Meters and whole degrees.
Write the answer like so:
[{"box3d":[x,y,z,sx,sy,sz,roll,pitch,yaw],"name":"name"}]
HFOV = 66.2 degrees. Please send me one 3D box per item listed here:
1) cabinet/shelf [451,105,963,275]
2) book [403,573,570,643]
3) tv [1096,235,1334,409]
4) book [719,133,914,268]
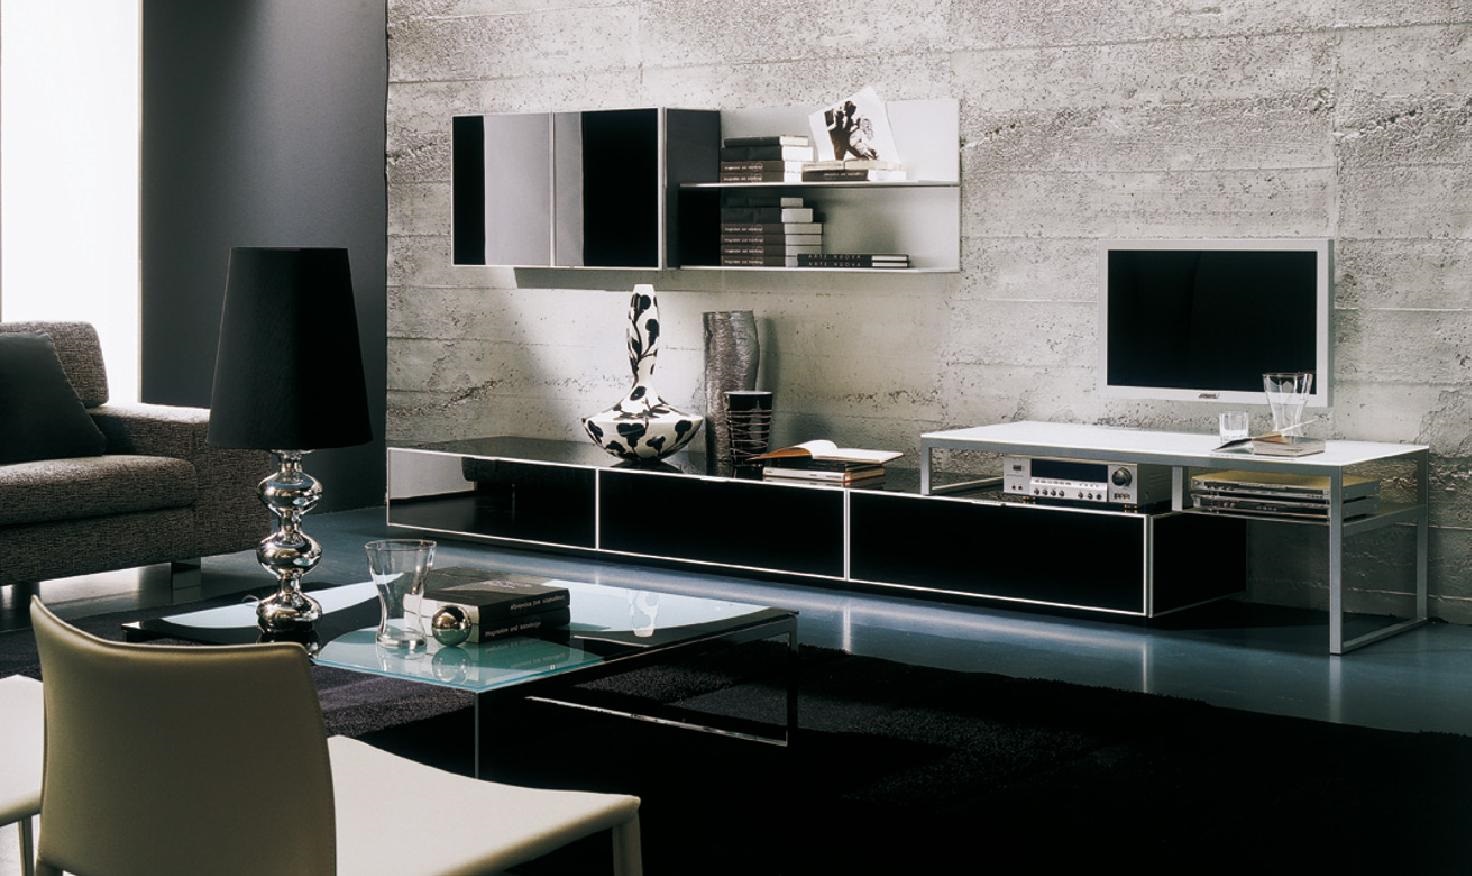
[{"box3d":[-0.274,-1.415,6.428,3.188,0.861,0.633,6,16,26],"name":"cabinet/shelf"},{"box3d":[-0.666,0.478,3.193,0.210,0.068,0.275,6,7,40],"name":"book"},{"box3d":[2.279,-0.554,5.276,0.991,0.592,0.103,3,7,36],"name":"tv"},{"box3d":[0.358,-1.287,6.155,1.002,0.707,0.267,5,12,27],"name":"book"}]
